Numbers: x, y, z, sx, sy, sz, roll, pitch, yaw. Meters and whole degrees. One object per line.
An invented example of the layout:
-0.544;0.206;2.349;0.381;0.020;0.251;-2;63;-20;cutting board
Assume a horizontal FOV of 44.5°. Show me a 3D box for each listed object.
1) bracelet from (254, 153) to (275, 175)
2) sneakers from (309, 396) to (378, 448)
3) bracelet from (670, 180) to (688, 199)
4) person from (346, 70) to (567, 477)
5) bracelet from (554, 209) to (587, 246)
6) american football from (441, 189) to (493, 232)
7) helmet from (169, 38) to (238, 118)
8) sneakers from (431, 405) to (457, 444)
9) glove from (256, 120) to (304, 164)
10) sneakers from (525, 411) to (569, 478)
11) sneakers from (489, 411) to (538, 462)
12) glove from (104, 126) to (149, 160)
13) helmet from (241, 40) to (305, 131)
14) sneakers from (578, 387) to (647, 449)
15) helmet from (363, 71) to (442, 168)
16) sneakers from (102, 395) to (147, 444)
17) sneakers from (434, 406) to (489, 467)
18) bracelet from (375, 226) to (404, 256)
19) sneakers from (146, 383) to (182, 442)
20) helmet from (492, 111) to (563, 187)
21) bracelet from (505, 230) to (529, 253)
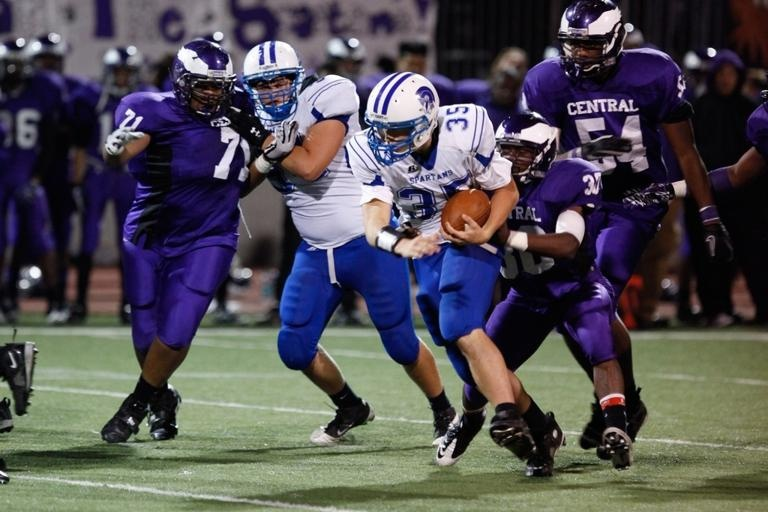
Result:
-0.716;-0.528;5.571;0.099;0.111;0.110;-20;-16;-16;bracelet
-0.252;1.034;5.899;0.473;0.215;0.169;-29;26;-18;sneakers
1.917;-0.433;6.051;0.090;0.087;0.110;-6;-3;9;bracelet
0.367;0.087;5.137;1.191;2.158;0.646;1;5;10;person
1.054;-0.203;5.286;0.181;0.188;0.180;2;-17;-7;bracelet
0.441;-0.255;5.000;0.252;0.154;0.186;-26;65;-36;american football
-1.106;-1.093;5.662;0.327;0.369;0.433;-12;51;-29;helmet
0.350;1.047;5.811;0.091;0.166;0.262;0;22;-1;sneakers
-0.597;-0.664;5.511;0.163;0.262;0.102;18;13;-18;glove
0.898;1.062;5.124;0.205;0.425;0.131;37;-27;-32;sneakers
0.672;0.925;4.935;0.137;0.332;0.161;-24;23;25;sneakers
-1.493;-0.651;5.381;0.207;0.112;0.174;-35;-12;14;glove
-0.670;-1.036;5.646;0.370;0.519;0.326;0;5;-2;helmet
1.401;0.943;5.656;0.197;0.259;0.574;-10;27;34;sneakers
0.096;-0.800;5.125;0.348;0.392;0.477;16;42;33;helmet
-1.569;0.966;5.663;0.142;0.199;0.409;17;28;18;sneakers
0.438;1.010;5.328;0.154;0.460;0.186;43;-1;11;sneakers
0.033;-0.082;5.060;0.139;0.126;0.112;28;5;22;bracelet
-1.361;0.924;5.830;0.121;0.290;0.102;11;-31;1;sneakers
0.723;-0.593;5.415;0.304;0.348;0.398;7;-9;-3;helmet
0.736;-0.081;5.106;0.106;0.095;0.053;26;6;4;bracelet
